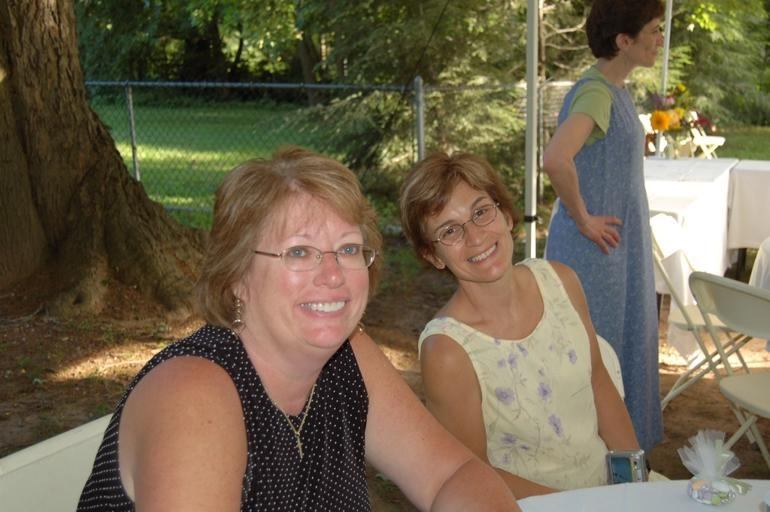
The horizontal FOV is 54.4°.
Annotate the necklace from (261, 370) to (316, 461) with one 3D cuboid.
[{"bbox_3d":[-0.403,0.773,3.513,0.124,0.039,0.370,-14,37,-20],"label":"necklace"}]

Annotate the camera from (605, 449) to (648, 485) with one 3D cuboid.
[{"bbox_3d":[1.181,1.011,3.627,0.208,0.212,0.131,-8,20,8],"label":"camera"}]

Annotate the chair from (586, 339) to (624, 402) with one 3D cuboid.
[{"bbox_3d":[1.286,0.620,4.235,0.281,0.292,0.219,-3,6,-19],"label":"chair"}]

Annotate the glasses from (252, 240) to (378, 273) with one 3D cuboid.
[{"bbox_3d":[-0.334,0.010,3.363,0.485,0.135,0.058,-6,15,-10],"label":"glasses"}]
